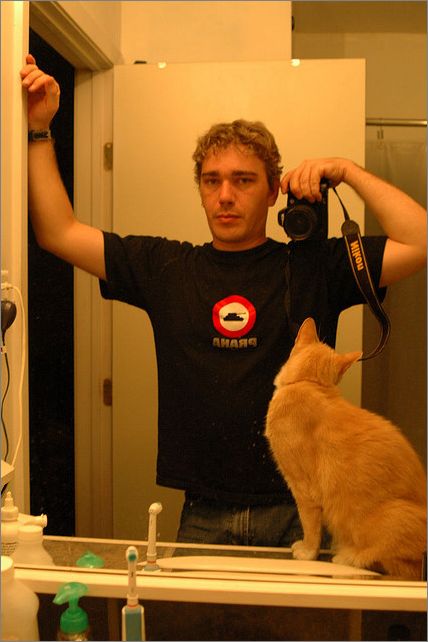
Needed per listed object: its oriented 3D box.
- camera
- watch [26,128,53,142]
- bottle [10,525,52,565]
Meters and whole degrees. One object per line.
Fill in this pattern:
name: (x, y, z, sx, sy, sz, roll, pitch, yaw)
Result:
camera: (0.166, -0.213, 1.154, 0.087, 0.124, 0.104, -2, 11, 31)
watch: (-0.344, -0.362, 1.158, 0.036, 0.022, 0.009, -1, 4, -15)
bottle: (-0.324, 0.404, 1.049, 0.070, 0.081, 0.047, -2, 5, -18)
